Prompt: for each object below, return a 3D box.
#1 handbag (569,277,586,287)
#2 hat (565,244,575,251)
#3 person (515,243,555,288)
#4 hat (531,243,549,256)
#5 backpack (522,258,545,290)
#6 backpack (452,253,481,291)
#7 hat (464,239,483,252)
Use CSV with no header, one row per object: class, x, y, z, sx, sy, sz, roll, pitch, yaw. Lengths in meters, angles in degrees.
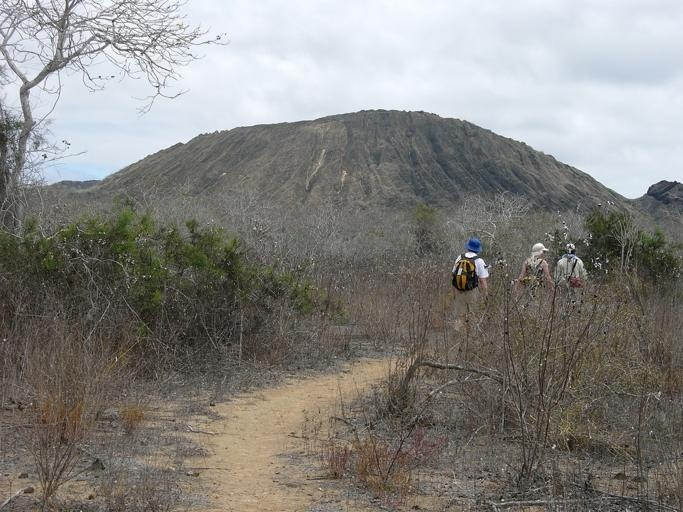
handbag,4.471,0.493,15.047,0.295,0.099,0.314,-2,1,-23
hat,4.638,-0.180,16.099,0.165,0.131,0.244,0,-5,7
person,4.530,0.228,18.530,0.736,1.364,0.465,4,-10,35
hat,4.911,-0.163,19.585,0.358,0.257,0.328,-9,4,12
backpack,3.602,0.342,14.877,0.281,0.899,0.428,-5,8,-45
backpack,2.576,0.376,16.517,0.511,0.821,0.400,3,-1,38
hat,2.703,-0.217,16.510,0.335,0.193,0.317,37,37,26
